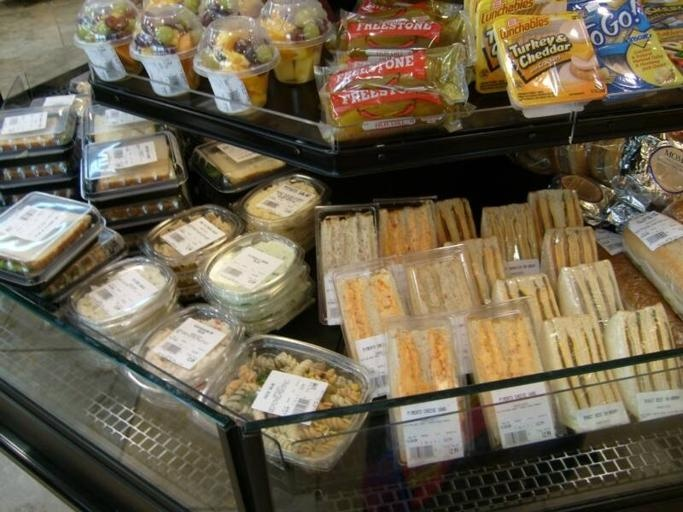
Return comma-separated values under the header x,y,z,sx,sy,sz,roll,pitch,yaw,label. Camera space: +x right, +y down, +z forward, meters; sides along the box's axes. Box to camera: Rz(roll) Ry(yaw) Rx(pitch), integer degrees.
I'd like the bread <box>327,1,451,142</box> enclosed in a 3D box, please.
x,y,z,sx,sy,sz,roll,pitch,yaw,label
0.150,-0.544,1.710,0.395,0.120,0.323,-7,80,5,bread
